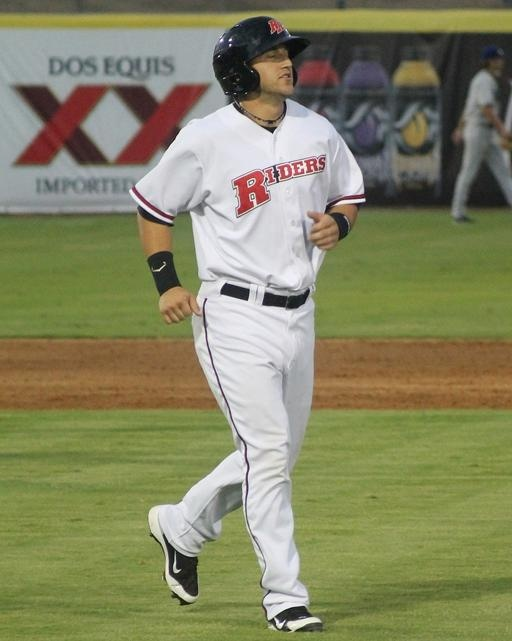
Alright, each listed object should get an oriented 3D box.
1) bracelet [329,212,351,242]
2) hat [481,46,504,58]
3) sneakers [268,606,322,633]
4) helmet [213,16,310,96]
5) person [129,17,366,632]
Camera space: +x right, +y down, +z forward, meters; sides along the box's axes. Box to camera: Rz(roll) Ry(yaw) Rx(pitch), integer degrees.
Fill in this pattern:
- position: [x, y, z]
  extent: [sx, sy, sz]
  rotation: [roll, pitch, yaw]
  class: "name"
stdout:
- position: [0.319, -0.326, 5.787]
  extent: [0.074, 0.075, 0.069]
  rotation: [-32, 39, -13]
  class: "bracelet"
- position: [2.176, -2.285, 13.785]
  extent: [0.188, 0.078, 0.133]
  rotation: [-18, 22, -31]
  class: "hat"
- position: [0.142, 1.059, 5.467]
  extent: [0.176, 0.075, 0.077]
  rotation: [-7, -12, 31]
  class: "sneakers"
- position: [-0.008, -0.959, 5.866]
  extent: [0.346, 0.291, 0.277]
  rotation: [-5, 9, -6]
  class: "helmet"
- position: [-0.047, -0.009, 5.712]
  extent: [0.887, 2.095, 0.852]
  rotation: [1, 10, 5]
  class: "person"
